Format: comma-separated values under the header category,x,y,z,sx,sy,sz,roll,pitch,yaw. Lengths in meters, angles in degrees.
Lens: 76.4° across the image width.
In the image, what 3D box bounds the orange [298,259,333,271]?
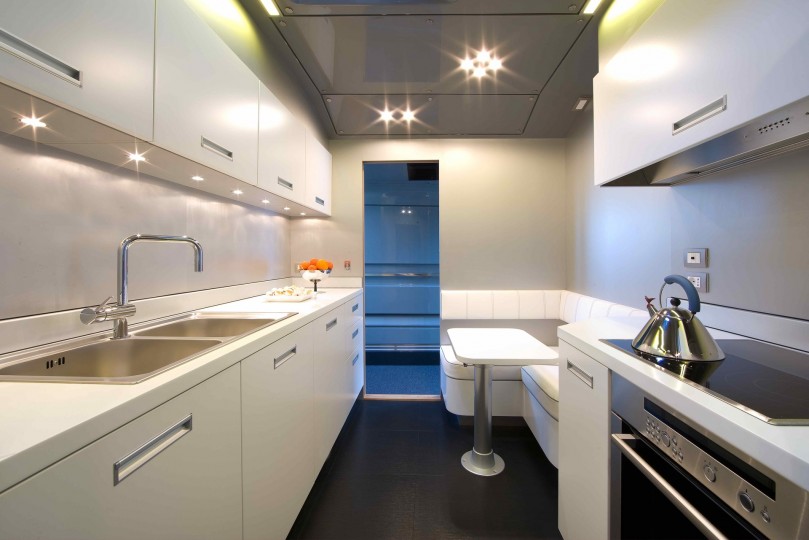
category,x,y,z,sx,sy,sz,roll,pitch,yaw
orange,-0.667,-0.027,3.822,0.174,0.075,0.169,12,18,42

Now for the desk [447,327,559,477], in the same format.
category,x,y,z,sx,sy,sz,roll,pitch,yaw
desk,0.584,0.784,3.256,0.599,0.786,0.701,1,14,5

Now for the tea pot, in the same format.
category,x,y,z,sx,sy,sz,roll,pitch,yaw
tea pot,1.234,0.203,2.298,0.333,0.352,0.389,0,-2,-11

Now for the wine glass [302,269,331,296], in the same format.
category,x,y,z,sx,sy,sz,roll,pitch,yaw
wine glass,-0.662,0.097,3.835,0.189,0.145,0.180,-2,-5,17
